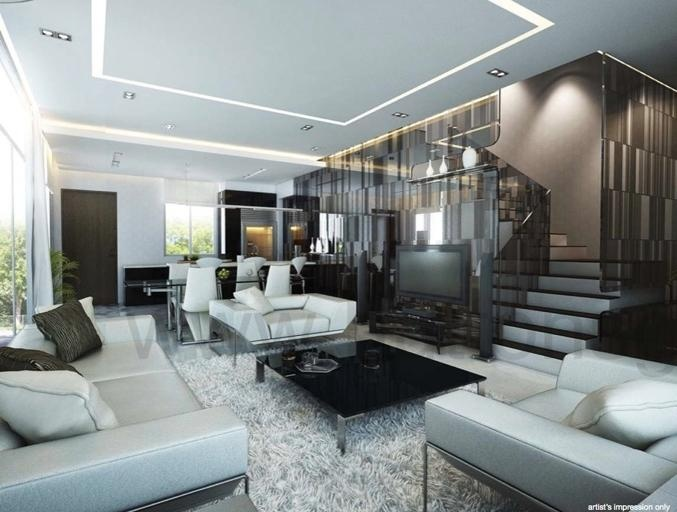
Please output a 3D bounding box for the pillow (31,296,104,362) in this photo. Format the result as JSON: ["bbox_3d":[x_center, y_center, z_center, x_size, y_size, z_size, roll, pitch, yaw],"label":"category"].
[{"bbox_3d":[-2.204,0.621,3.725,0.137,0.460,0.471,-27,1,11],"label":"pillow"}]

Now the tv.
[{"bbox_3d":[1.302,0.371,6.101,0.104,0.740,0.998,-1,1,-37],"label":"tv"}]

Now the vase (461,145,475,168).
[{"bbox_3d":[1.793,-1.314,6.229,0.188,0.285,0.559,3,11,14],"label":"vase"}]

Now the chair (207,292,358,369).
[{"bbox_3d":[-0.742,0.805,5.503,1.344,0.573,0.768,0,0,-37],"label":"chair"}]

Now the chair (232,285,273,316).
[{"bbox_3d":[-0.933,0.572,5.410,0.464,0.314,0.546,-8,14,-39],"label":"chair"}]
